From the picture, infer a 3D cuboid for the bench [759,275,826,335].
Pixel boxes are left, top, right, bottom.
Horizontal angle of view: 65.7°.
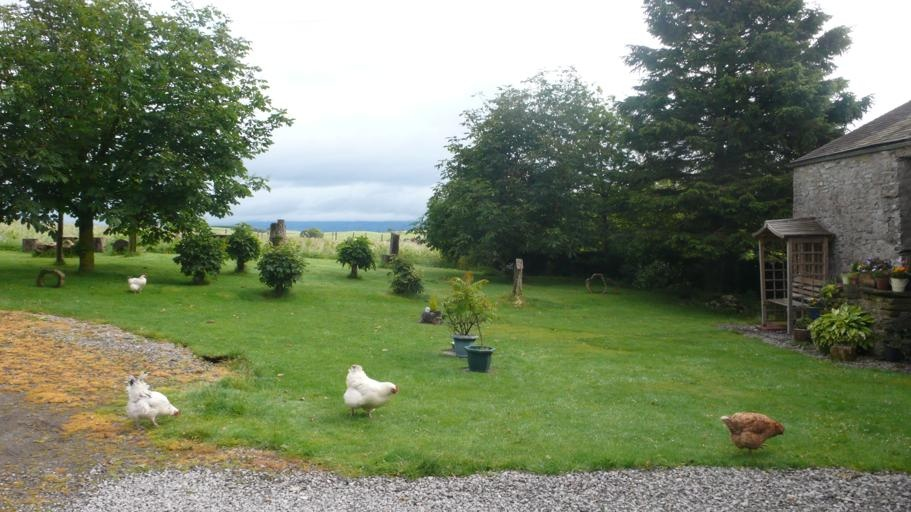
[{"bbox_3d":[15.596,2.247,33.409,1.565,2.252,3.750,2,-1,11],"label":"bench"}]
